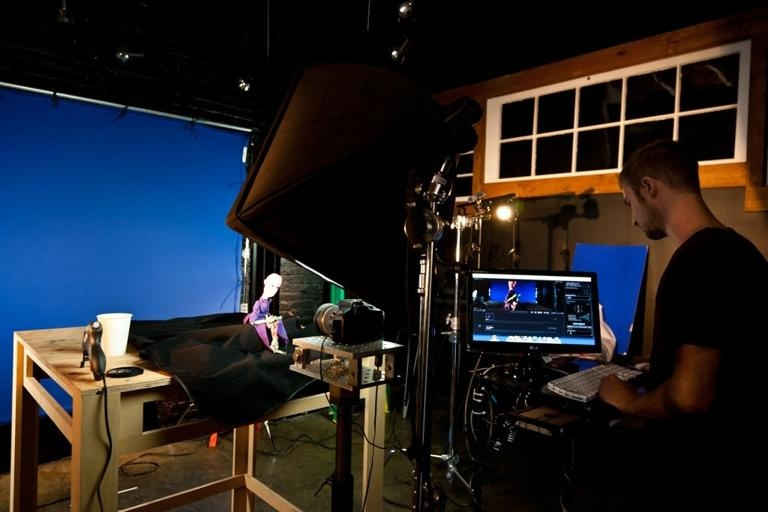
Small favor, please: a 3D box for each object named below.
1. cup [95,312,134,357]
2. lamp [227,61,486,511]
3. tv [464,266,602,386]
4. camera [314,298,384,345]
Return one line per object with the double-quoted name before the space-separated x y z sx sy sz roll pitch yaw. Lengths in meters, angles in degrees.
"cup" -1.608 0.478 3.667 0.134 0.254 0.317 1 -3 16
"lamp" -0.158 -0.263 2.936 1.141 1.264 0.290 2 -3 -14
"tv" 1.017 0.475 4.138 0.939 0.712 0.238 1 -16 3
"camera" -0.214 0.346 3.332 0.309 0.200 0.332 -2 1 -40
